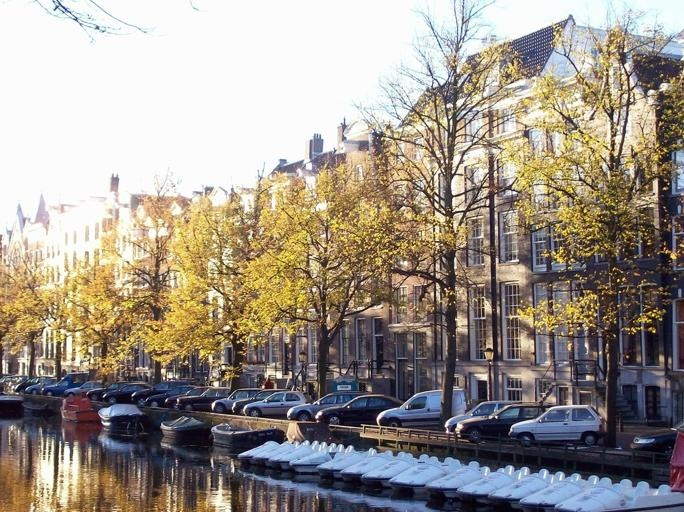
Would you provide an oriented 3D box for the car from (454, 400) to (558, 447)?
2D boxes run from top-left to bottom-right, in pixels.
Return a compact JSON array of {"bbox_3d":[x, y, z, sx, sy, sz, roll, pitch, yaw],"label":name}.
[{"bbox_3d":[7.574,7.807,59.897,4.302,1.282,1.861,0,-7,-1],"label":"car"}]
